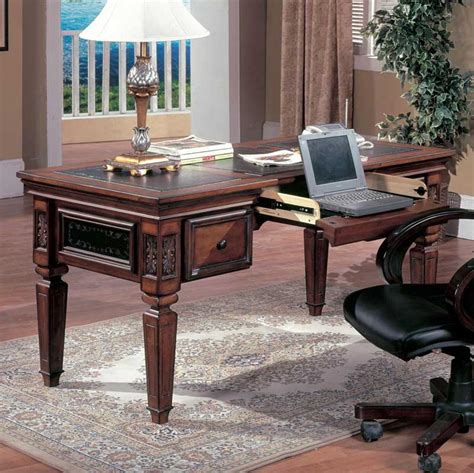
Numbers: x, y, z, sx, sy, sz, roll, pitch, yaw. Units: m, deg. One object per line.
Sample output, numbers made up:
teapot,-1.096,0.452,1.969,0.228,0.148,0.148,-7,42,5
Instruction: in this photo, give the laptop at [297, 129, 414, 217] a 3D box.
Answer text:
laptop,0.390,-0.250,2.037,0.410,0.317,0.435,-15,21,-40
